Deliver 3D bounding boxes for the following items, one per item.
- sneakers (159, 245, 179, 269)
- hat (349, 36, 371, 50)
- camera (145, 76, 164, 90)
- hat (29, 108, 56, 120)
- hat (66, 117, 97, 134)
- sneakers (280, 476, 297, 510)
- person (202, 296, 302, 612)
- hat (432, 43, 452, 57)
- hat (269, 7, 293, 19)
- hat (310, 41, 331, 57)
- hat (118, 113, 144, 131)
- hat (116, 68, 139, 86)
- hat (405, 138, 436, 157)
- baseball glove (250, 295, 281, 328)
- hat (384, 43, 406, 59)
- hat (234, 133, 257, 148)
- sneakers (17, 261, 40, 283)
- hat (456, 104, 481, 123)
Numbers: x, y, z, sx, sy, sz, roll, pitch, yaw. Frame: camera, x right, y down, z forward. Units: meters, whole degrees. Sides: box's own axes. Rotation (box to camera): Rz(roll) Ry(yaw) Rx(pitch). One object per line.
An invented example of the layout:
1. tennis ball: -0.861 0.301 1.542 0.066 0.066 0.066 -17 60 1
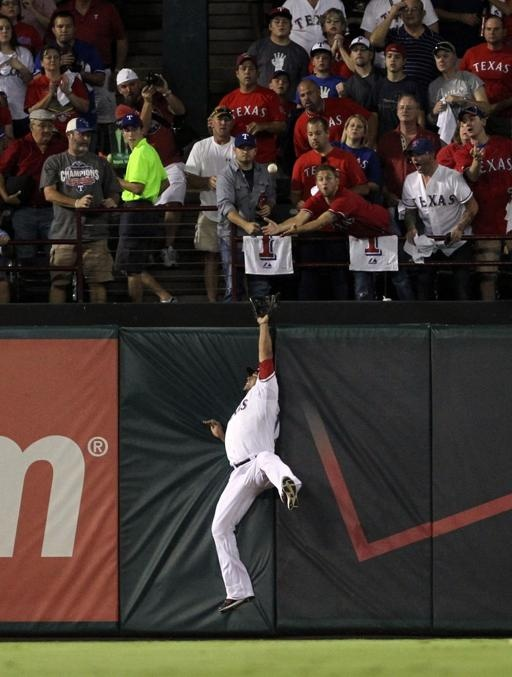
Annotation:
1. sneakers: -0.849 -0.781 10.826 0.153 0.198 0.090 1 -12 1
2. hat: 1.186 -3.235 12.339 0.225 0.130 0.272 1 14 5
3. camera: -1.086 -2.667 11.708 0.165 0.151 0.367 -1 14 -5
4. hat: -2.192 -2.222 11.247 0.232 0.112 0.264 -4 15 -16
5. hat: -1.744 -2.021 10.758 0.197 0.140 0.260 -4 15 -17
6. sneakers: 0.274 1.221 8.766 0.110 0.266 0.072 -8 -32 -3
7. person: -0.012 1.014 9.344 0.812 2.592 1.234 -1 15 -2
8. hat: 2.073 -3.103 12.072 0.226 0.131 0.218 4 15 14
9. hat: 0.292 -3.680 12.790 0.219 0.104 0.289 -1 14 -2
10. hat: 0.730 -3.115 12.142 0.212 0.135 0.380 1 14 3
11. hat: -1.251 -2.107 10.981 0.216 0.147 0.390 -1 14 -6
12. hat: -1.413 -2.747 11.948 0.234 0.202 0.319 -2 11 4
13. hat: 1.606 -1.808 10.463 0.224 0.168 0.323 -5 -3 39
14. baseball glove: 0.089 -0.227 9.501 0.224 0.257 0.121 0 -8 13
15. hat: 1.515 -3.056 11.997 0.224 0.131 0.225 4 15 17
16. hat: -0.103 -1.788 10.334 0.210 0.147 0.332 2 4 -3
17. sneakers: -2.240 -0.636 10.773 0.212 0.189 0.341 -4 1 -1
18. hat: 2.145 -2.148 10.835 0.245 0.153 0.213 0 14 0
